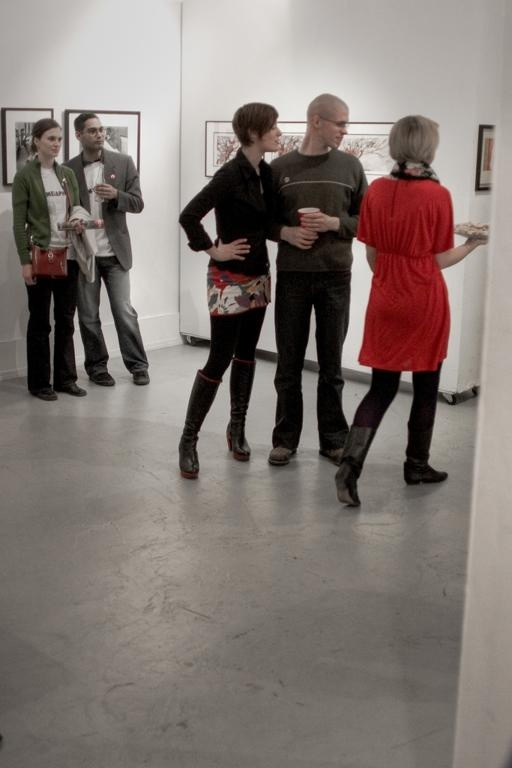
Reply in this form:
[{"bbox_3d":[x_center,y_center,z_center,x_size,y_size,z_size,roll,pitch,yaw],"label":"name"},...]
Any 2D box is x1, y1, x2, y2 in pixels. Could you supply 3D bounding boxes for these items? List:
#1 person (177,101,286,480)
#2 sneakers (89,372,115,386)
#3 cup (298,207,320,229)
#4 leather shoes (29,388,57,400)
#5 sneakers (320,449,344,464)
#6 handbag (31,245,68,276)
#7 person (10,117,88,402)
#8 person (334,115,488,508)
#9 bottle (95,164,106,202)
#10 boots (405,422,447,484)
[{"bbox_3d":[-0.150,-0.401,2.863,0.425,1.739,0.402,0,10,-8],"label":"person"},{"bbox_3d":[-1.131,-0.047,4.434,0.184,0.077,0.090,6,10,43],"label":"sneakers"},{"bbox_3d":[0.237,-0.755,2.722,0.089,0.071,0.087,-3,18,1],"label":"cup"},{"bbox_3d":[-1.443,0.063,4.093,0.192,0.082,0.081,3,16,15],"label":"leather shoes"},{"bbox_3d":[0.397,0.370,3.133,0.054,0.059,0.145,-8,10,-28],"label":"sneakers"},{"bbox_3d":[-1.367,-0.809,3.931,0.179,0.178,0.071,-5,9,-32],"label":"handbag"},{"bbox_3d":[-1.391,-0.819,4.060,0.455,1.823,0.327,-3,11,-24],"label":"person"},{"bbox_3d":[0.665,-0.256,2.582,0.532,1.631,0.411,-5,12,-34],"label":"person"},{"bbox_3d":[-1.112,-1.445,4.248,0.060,0.279,0.166,-1,11,-15],"label":"bottle"},{"bbox_3d":[0.836,0.352,2.960,0.239,0.326,0.117,-10,32,-4],"label":"boots"}]
